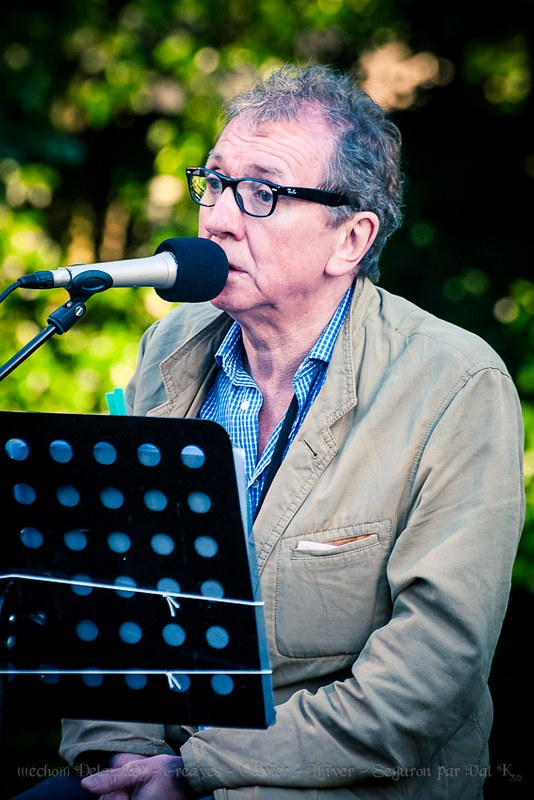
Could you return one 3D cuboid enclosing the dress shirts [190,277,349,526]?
[{"bbox_3d":[0.015,-0.015,2.603,0.497,0.168,0.546,12,71,37],"label":"dress shirts"}]

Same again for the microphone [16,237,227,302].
[{"bbox_3d":[-0.254,-0.243,2.149,0.545,0.146,0.132,0,77,-32],"label":"microphone"}]
